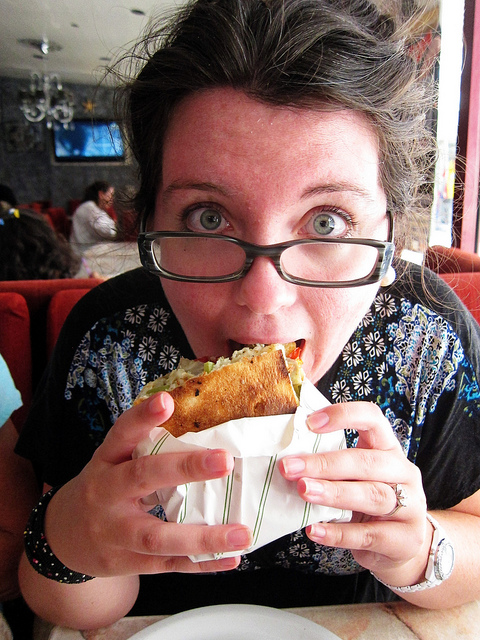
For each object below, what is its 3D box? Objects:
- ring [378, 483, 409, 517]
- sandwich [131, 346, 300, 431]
[{"bbox_3d":[0.283,0.323,0.962,0.062,0.051,0.036,-28,-23,31],"label":"ring"},{"bbox_3d":[-0.039,0.088,0.959,0.199,0.066,0.183,-8,6,-10],"label":"sandwich"}]
